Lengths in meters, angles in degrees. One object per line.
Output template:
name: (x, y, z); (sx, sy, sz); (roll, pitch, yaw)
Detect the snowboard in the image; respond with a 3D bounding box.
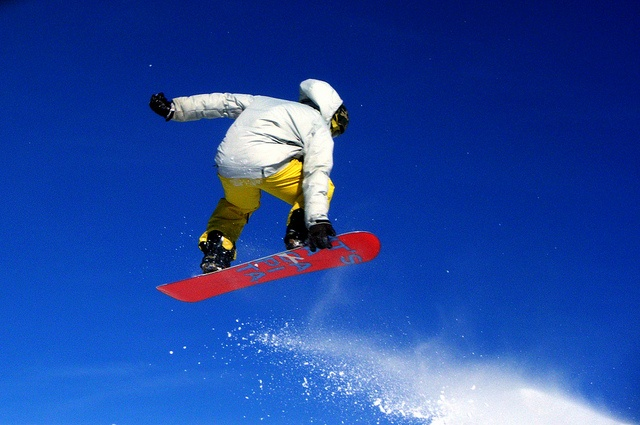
snowboard: (-0.450, 0.435, 6.211); (1.642, 0.389, 0.222); (-17, 43, -1)

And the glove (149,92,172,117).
glove: (-1.595, -1.112, 6.618); (0.212, 0.310, 0.305); (3, 40, -14)

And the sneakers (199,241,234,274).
sneakers: (-1.020, 0.470, 6.542); (0.340, 0.268, 0.288); (5, 40, -12)

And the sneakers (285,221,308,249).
sneakers: (-0.220, 0.223, 6.190); (0.233, 0.162, 0.310); (11, 58, -13)
